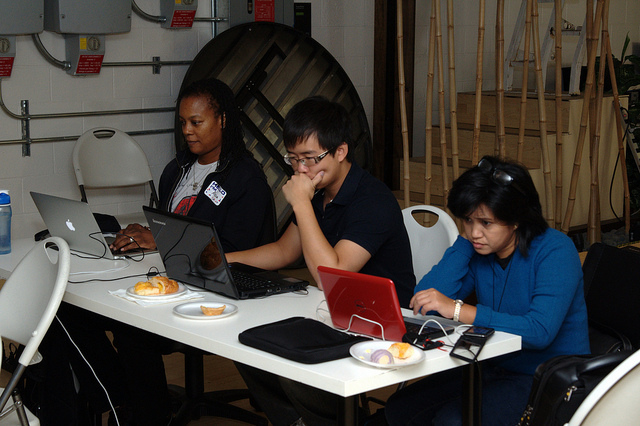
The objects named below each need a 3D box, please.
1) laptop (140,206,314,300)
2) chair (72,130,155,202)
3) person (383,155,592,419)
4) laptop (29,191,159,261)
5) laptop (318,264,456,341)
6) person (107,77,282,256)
[{"bbox_3d":[-0.410,0.049,1.967,0.475,0.327,0.489,-11,23,-43],"label":"laptop"},{"bbox_3d":[-1.791,-0.465,4.228,0.532,0.767,0.585,-8,14,-25],"label":"chair"},{"bbox_3d":[0.645,0.271,1.781,0.776,0.966,0.607,-8,14,-39],"label":"person"},{"bbox_3d":[-1.222,0.053,2.446,0.453,0.296,0.446,9,10,40],"label":"laptop"},{"bbox_3d":[0.209,0.294,1.624,0.394,0.221,0.407,6,9,20],"label":"laptop"},{"bbox_3d":[-0.801,-0.219,2.796,1.048,1.086,0.986,9,12,31],"label":"person"}]
